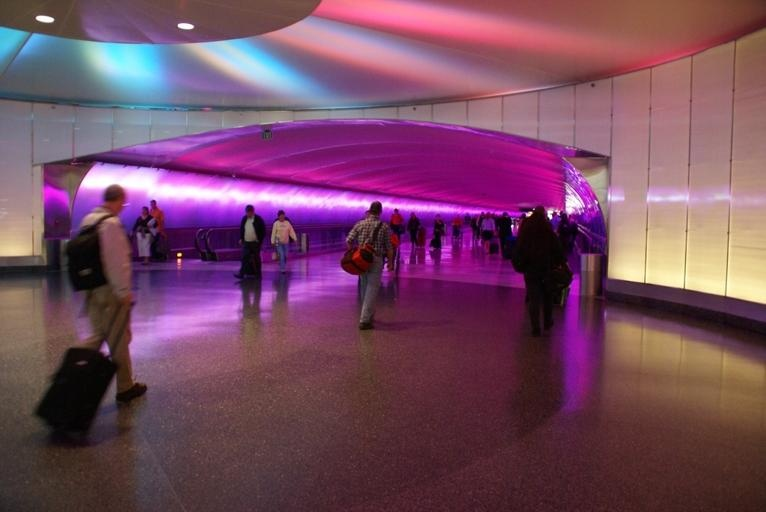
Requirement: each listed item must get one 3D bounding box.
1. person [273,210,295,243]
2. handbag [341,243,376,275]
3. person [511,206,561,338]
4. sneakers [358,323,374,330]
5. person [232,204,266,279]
[{"bbox_3d":[-3.219,-0.901,16.036,0.676,1.129,1.108,-1,8,-14],"label":"person"},{"bbox_3d":[-0.454,0.058,8.722,0.544,0.531,0.272,3,7,19],"label":"handbag"},{"bbox_3d":[2.649,0.251,8.562,0.706,2.149,0.695,-6,9,-43],"label":"person"},{"bbox_3d":[-0.301,1.224,8.682,0.208,0.098,0.100,-2,5,-3],"label":"sneakers"},{"bbox_3d":[-4.053,-0.430,15.180,0.782,2.220,1.583,-2,7,-17],"label":"person"}]
